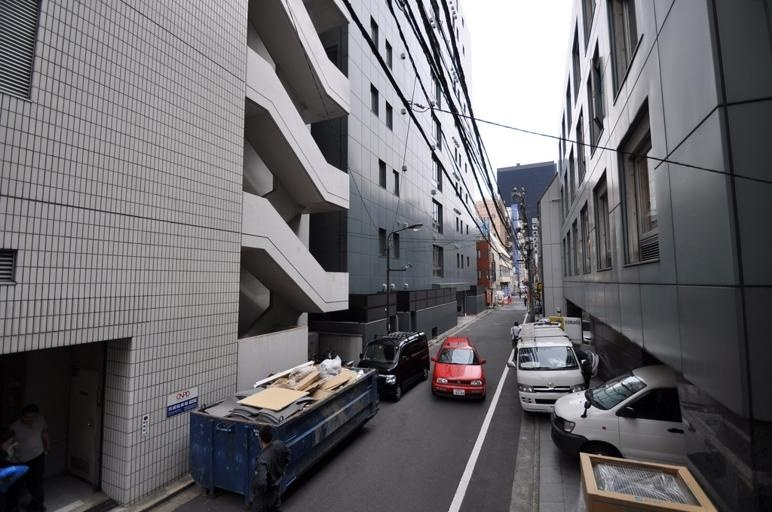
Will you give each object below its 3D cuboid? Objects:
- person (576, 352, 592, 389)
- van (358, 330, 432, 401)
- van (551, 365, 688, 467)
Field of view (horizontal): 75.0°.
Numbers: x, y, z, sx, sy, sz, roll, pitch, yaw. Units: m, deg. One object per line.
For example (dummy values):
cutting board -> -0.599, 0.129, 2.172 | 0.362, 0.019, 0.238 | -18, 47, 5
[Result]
person -> 6.263, 3.673, 15.920 | 0.740, 1.123, 1.045 | 2, -12, 20
van -> 0.330, 3.854, 18.380 | 1.681, 2.002, 3.558 | 1, 1, 25
van -> 5.209, 3.708, 11.703 | 2.728, 1.555, 1.601 | 0, -3, 14
